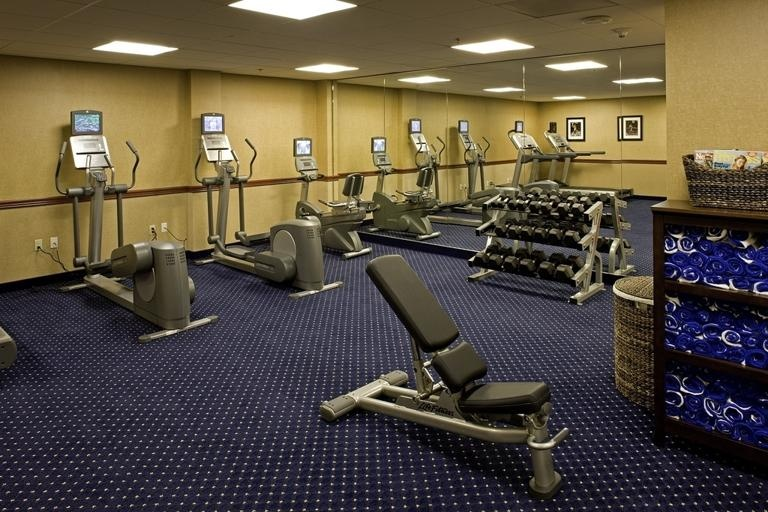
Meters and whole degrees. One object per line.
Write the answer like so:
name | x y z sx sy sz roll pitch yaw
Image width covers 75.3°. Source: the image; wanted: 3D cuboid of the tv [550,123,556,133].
tv | 2.527 -1.906 7.399 0.116 0.156 0.053 4 13 25

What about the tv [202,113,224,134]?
tv | -2.753 -2.124 7.956 0.180 0.287 0.331 14 16 43

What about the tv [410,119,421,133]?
tv | 0.607 -2.423 9.288 0.281 0.261 0.168 2 6 19

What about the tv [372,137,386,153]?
tv | -0.099 -2.172 9.750 0.284 0.247 0.150 -7 14 -40

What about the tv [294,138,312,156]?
tv | -1.468 -1.960 8.978 0.173 0.273 0.320 9 12 36

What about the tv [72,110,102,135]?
tv | -4.075 -1.813 6.784 0.201 0.317 0.354 11 12 43

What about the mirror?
mirror | 2.220 -1.624 8.370 5.229 2.702 0.359 12 14 33

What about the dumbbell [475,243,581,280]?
dumbbell | 1.907 0.073 6.610 1.341 0.452 0.520 7 15 34

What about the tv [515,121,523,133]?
tv | 2.090 -1.987 7.651 0.044 0.194 0.194 -6 13 -20

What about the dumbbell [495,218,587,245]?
dumbbell | 2.037 -0.315 6.506 1.219 0.291 0.391 5 14 29
